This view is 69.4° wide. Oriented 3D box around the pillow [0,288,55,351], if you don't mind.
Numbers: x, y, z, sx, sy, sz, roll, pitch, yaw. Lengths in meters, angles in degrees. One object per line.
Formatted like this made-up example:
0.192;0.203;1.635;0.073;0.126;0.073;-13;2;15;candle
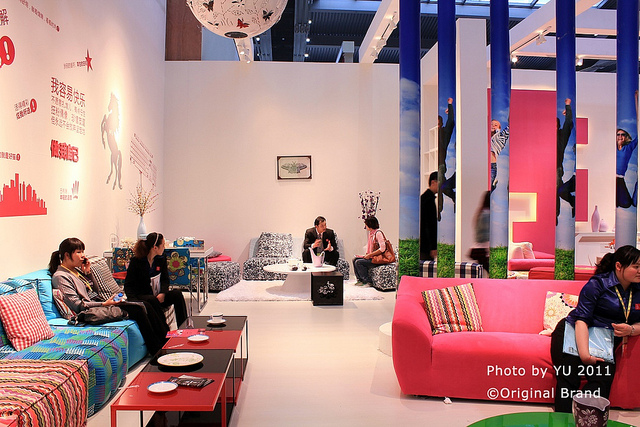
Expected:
-2.757;0.962;4.317;0.360;0.470;0.384;5;10;32;pillow

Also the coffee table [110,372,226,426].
-1.156;1.361;3.529;0.574;0.308;0.570;1;8;0;coffee table

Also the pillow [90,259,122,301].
-2.564;0.795;5.544;0.111;0.357;0.372;-18;8;4;pillow

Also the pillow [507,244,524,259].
3.338;0.672;7.980;0.252;0.310;0.259;0;-11;12;pillow

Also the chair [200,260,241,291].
-1.781;1.136;8.404;0.731;0.461;0.979;-2;-3;-23;chair

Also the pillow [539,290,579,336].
2.454;1.045;4.720;0.130;0.399;0.421;28;-16;-30;pillow

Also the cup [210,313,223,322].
-1.078;1.079;4.831;0.106;0.067;0.090;-2;0;0;cup

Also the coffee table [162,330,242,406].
-1.058;1.253;4.346;0.524;0.466;0.968;1;-1;-2;coffee table

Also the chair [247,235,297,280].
-0.881;0.804;8.841;1.252;0.848;1.253;-2;-4;26;chair

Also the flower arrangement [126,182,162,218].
-2.997;-0.189;7.825;0.445;0.354;0.422;6;9;-19;flower arrangement

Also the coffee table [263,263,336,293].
-0.263;1.096;7.690;0.681;0.227;0.681;2;1;11;coffee table

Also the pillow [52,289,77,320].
-2.668;0.936;4.898;0.270;0.314;0.094;-14;15;46;pillow

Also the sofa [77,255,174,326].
-2.499;0.817;5.782;0.278;0.801;0.809;-28;-22;-14;sofa

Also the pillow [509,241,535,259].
3.599;0.619;8.016;0.289;0.289;0.098;-8;-32;28;pillow

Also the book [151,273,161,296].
-2.027;0.882;5.713;0.039;0.245;0.263;-2;2;13;book

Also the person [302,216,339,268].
0.017;0.632;8.640;0.593;1.051;0.602;2;2;3;person

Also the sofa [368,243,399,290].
1.038;0.948;8.271;0.703;0.674;0.703;1;-3;-7;sofa

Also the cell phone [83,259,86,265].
-2.554;0.516;5.034;0.016;0.062;0.065;2;-6;-19;cell phone

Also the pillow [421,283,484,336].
1.357;0.995;4.730;0.518;0.466;0.151;-6;-24;-22;pillow
